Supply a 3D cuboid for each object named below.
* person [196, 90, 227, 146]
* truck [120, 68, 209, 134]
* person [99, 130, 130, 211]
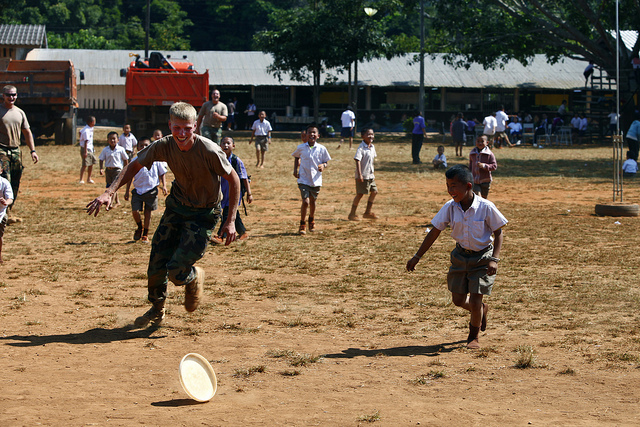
[{"bbox_3d":[-3.453,-2.957,40.694,0.798,1.946,1.023,0,1,-18],"label":"person"},{"bbox_3d":[-6.280,-4.577,52.247,3.313,2.740,5.937,1,11,-12],"label":"truck"},{"bbox_3d":[-5.861,-1.151,36.825,1.033,2.665,1.141,2,-1,-6],"label":"person"}]
